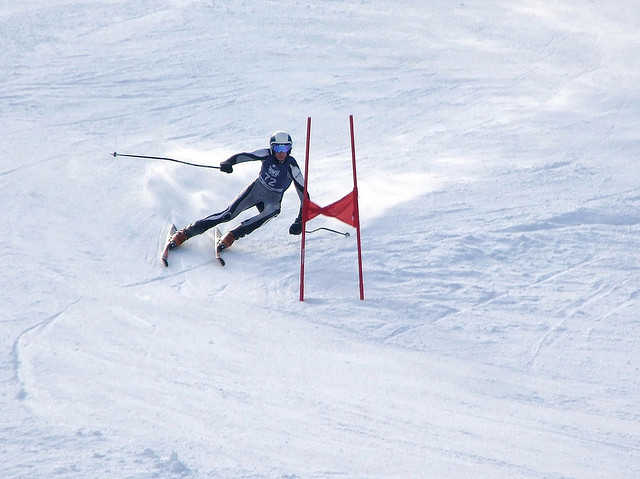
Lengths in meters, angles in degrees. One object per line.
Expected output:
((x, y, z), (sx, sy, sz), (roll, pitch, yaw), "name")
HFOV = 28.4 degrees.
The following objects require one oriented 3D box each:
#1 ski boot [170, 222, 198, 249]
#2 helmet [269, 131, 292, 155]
((-2.504, -0.109, 23.487), (0.699, 0.223, 0.337), (-40, 26, -28), "ski boot")
((-0.733, -1.852, 23.480), (0.385, 0.359, 0.415), (1, 18, -2), "helmet")
